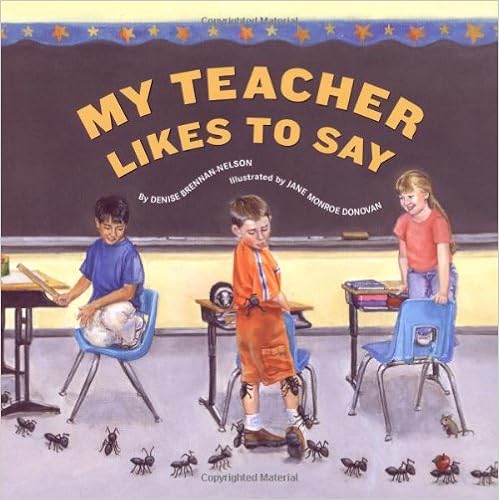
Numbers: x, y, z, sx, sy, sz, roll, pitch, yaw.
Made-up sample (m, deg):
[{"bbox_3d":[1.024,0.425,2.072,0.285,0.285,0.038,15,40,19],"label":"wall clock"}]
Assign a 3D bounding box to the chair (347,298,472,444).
[{"bbox_3d":[0.910,0.646,5.005,0.532,0.777,0.568,1,4,-10],"label":"chair"}]
